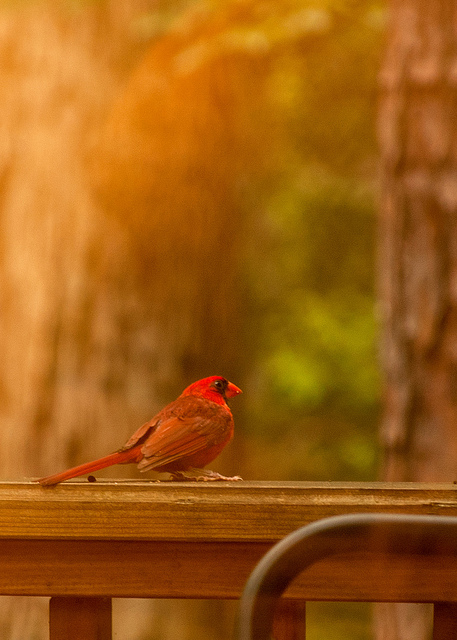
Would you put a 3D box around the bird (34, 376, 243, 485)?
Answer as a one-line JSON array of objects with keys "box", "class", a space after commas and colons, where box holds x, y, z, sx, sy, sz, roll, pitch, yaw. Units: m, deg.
[{"box": [-0.168, 0.231, 2.531, 0.459, 0.205, 0.173, -3, 0, -30], "class": "bird"}]
